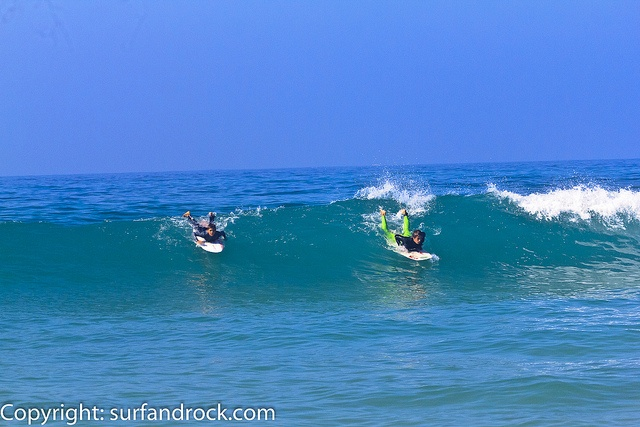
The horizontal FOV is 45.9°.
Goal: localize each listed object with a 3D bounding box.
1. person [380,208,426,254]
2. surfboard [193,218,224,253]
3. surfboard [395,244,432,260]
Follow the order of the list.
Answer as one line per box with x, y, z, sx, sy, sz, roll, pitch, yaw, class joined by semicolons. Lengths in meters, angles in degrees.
2.469;0.521;23.460;0.890;0.677;1.798;-12;30;-19;person
-3.401;0.766;23.421;0.946;0.736;0.674;6;31;-9;surfboard
2.812;1.186;23.220;0.873;0.132;0.451;10;16;40;surfboard
